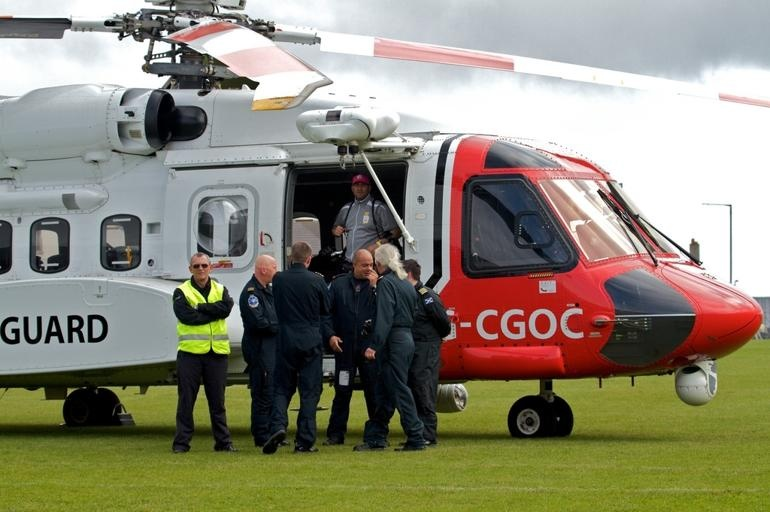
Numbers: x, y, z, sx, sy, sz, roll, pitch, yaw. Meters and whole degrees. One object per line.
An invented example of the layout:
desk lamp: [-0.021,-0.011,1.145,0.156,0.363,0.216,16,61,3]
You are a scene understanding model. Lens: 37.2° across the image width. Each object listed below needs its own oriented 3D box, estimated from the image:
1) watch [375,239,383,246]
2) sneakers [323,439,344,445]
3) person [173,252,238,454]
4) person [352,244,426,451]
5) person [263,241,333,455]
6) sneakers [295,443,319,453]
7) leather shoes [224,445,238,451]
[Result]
watch: [-0.059,-0.199,15.705,0.112,0.061,0.105,-25,8,-7]
sneakers: [-0.655,2.419,15.037,0.286,0.131,0.079,4,-8,-6]
person: [-2.266,1.194,14.286,0.722,2.455,0.764,-1,-8,-10]
person: [0.056,1.124,14.282,0.809,2.544,0.674,-1,-8,-6]
person: [-1.099,1.112,14.351,0.835,2.626,0.446,-1,-8,-6]
sneakers: [-0.941,2.388,14.358,0.342,0.100,0.098,-1,1,-21]
leather shoes: [-1.938,2.413,14.528,0.212,0.066,0.068,0,0,-40]
